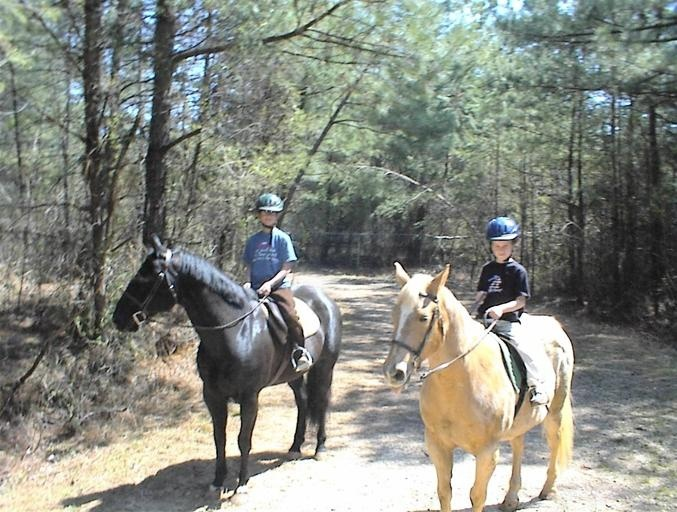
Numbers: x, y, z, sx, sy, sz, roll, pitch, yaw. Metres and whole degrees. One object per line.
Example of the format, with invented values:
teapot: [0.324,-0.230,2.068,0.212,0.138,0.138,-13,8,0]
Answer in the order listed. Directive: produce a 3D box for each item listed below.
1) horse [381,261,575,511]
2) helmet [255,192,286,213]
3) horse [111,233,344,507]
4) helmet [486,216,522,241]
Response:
horse: [1.673,1.646,8.754,2.714,3.271,0.926,-11,15,-41]
helmet: [-0.999,-0.753,10.087,0.344,0.239,0.463,0,16,-20]
horse: [-1.341,1.325,10.024,1.235,3.429,3.003,9,15,41]
helmet: [2.005,-0.353,8.987,0.392,0.300,0.264,1,11,11]
